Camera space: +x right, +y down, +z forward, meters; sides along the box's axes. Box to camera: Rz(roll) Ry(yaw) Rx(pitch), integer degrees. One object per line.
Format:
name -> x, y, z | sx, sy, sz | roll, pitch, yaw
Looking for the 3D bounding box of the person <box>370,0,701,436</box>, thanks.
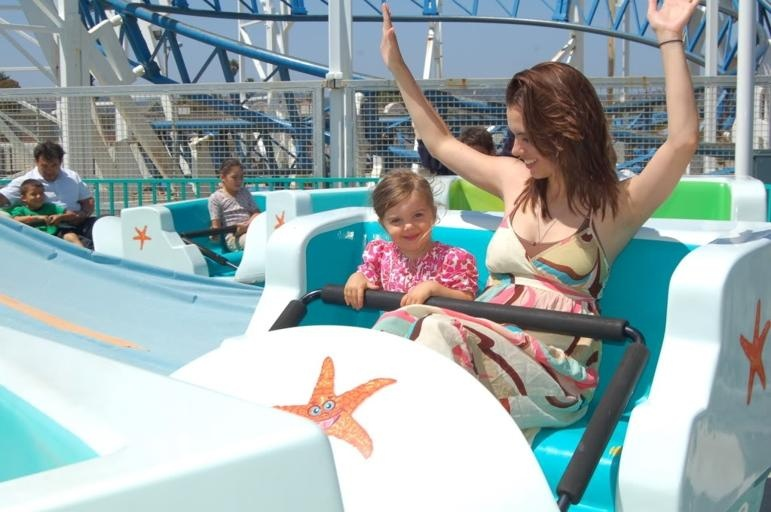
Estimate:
person -> 0.465, -0.139, 2.291 | 0.922, 1.188, 0.942 | 2, 18, 22
